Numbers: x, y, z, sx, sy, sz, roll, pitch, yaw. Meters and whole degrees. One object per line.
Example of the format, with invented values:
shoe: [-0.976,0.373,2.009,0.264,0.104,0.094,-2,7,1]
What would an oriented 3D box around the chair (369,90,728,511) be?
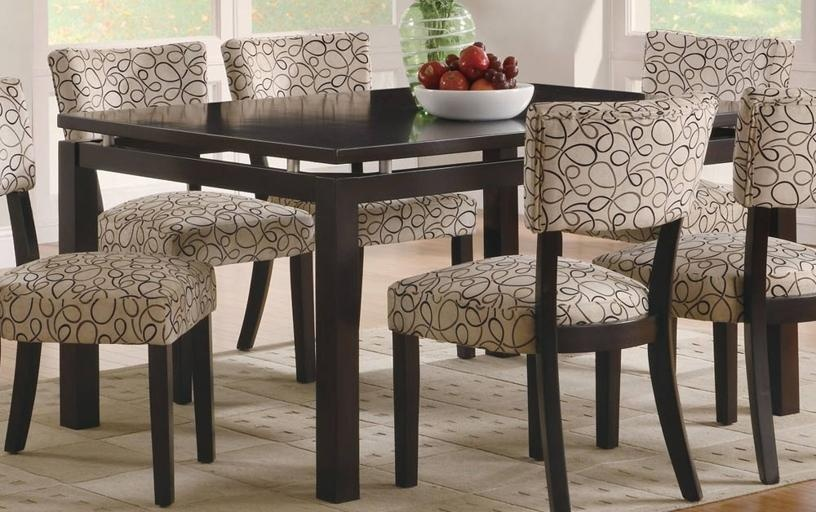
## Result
chair: [0.424,0.130,2.110,0.844,1.131,0.485,-5,13,-22]

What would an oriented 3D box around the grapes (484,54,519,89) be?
grapes: [0.337,-0.630,2.632,0.140,0.080,0.140,3,17,36]

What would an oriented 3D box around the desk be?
desk: [0.042,0.136,2.418,1.610,0.738,1.031,-7,10,-44]

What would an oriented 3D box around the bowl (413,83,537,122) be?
bowl: [0.245,-0.552,2.742,0.455,0.107,0.441,1,11,0]

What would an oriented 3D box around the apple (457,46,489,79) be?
apple: [0.230,-0.667,2.636,0.079,0.070,0.082,-10,-3,40]

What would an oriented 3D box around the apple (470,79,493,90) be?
apple: [0.255,-0.583,2.605,0.061,0.061,0.056,-6,-2,-4]

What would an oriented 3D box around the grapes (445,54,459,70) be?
grapes: [0.154,-0.680,2.677,0.026,0.048,0.054,2,4,-42]
